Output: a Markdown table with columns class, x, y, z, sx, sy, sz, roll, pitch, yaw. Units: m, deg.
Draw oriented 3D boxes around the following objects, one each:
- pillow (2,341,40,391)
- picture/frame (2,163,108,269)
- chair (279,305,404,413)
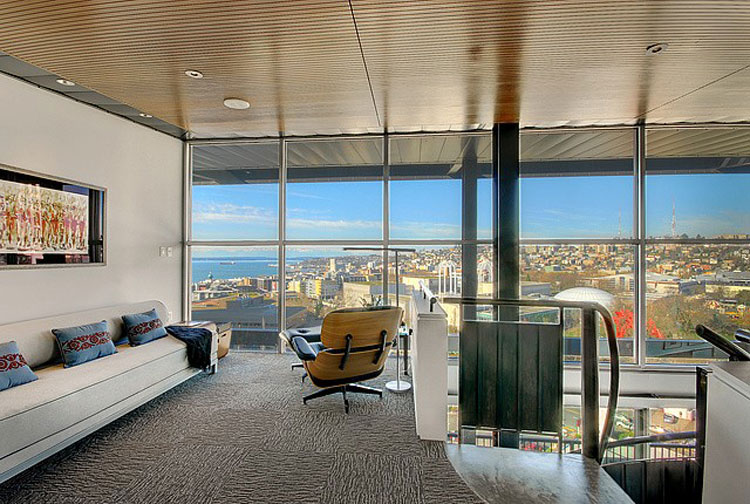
| class | x | y | z | sx | sy | sz | roll | pitch | yaw |
| --- | --- | --- | --- | --- | --- | --- | --- | --- | --- |
| pillow | -3.815 | 1.165 | 5.002 | 0.370 | 0.343 | 0.346 | -2 | -1 | 27 |
| picture/frame | -3.897 | -0.422 | 5.731 | 0.061 | 0.959 | 1.570 | 2 | 0 | 23 |
| chair | -0.369 | 1.226 | 6.188 | 1.335 | 1.092 | 1.458 | 3 | 1 | -26 |
